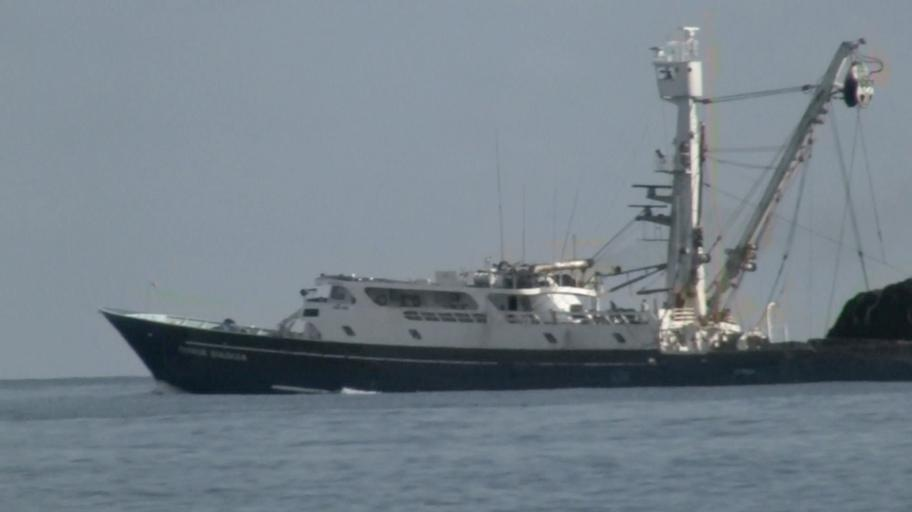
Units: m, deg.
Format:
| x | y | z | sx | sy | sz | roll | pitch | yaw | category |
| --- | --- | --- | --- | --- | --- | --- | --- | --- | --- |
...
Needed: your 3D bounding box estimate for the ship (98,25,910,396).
| x | y | z | sx | sy | sz | roll | pitch | yaw | category |
| --- | --- | --- | --- | --- | --- | --- | --- | --- | --- |
| 4.176 | -3.290 | 122.790 | 53.267 | 23.842 | 12.851 | 0 | -1 | -4 | ship |
